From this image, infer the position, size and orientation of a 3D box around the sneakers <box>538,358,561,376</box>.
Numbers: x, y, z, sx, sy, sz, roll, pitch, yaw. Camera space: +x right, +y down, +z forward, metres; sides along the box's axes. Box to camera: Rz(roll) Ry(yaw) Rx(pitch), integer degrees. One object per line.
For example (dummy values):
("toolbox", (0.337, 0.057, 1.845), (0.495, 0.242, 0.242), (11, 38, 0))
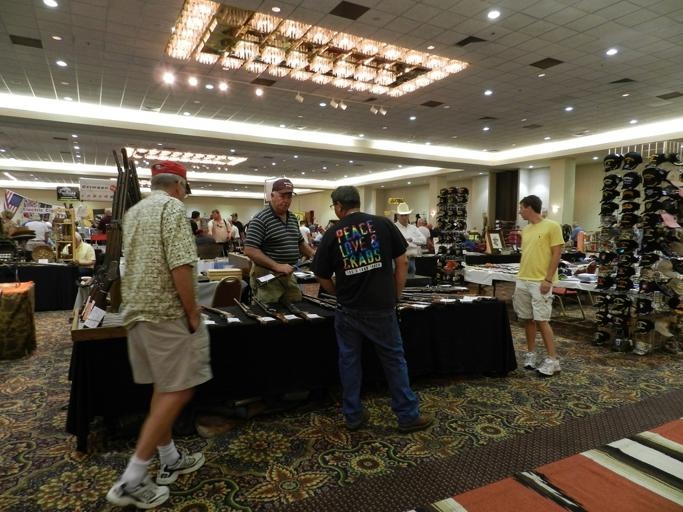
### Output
("sneakers", (2.162, 1.162, 4.383), (0.358, 0.119, 0.132), (5, -8, -38))

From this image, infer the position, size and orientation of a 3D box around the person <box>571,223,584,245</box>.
("person", (7.259, -0.645, 13.103), (0.243, 0.560, 1.048), (7, 15, 27))

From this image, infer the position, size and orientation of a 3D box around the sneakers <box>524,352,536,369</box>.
("sneakers", (2.022, 1.106, 4.532), (0.111, 0.178, 0.227), (6, 15, 22))

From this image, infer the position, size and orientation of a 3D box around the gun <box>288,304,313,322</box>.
("gun", (-0.360, 0.497, 3.690), (0.141, 0.029, 0.661), (-3, 1, -11))

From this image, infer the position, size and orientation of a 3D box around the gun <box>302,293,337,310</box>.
("gun", (-0.201, 0.434, 4.150), (0.128, 0.039, 0.631), (14, 2, -19))

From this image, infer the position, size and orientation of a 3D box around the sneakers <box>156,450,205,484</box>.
("sneakers", (-1.078, 1.443, 2.950), (0.131, 0.115, 0.338), (4, 9, 39))

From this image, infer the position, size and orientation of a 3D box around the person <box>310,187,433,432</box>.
("person", (0.234, 0.419, 3.371), (0.677, 1.929, 0.957), (-15, 21, -40))

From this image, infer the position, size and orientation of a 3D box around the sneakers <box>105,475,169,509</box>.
("sneakers", (-1.263, 1.503, 2.752), (0.471, 0.171, 0.164), (10, -2, -26))

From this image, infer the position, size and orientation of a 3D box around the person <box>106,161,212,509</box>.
("person", (-1.206, 0.465, 2.788), (0.620, 2.153, 0.935), (-3, 16, -7))

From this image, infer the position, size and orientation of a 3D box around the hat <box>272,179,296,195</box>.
("hat", (-0.555, -0.668, 3.989), (0.180, 0.141, 0.222), (-3, 13, -8))

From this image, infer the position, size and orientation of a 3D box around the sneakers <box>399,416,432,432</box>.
("sneakers", (0.593, 1.321, 3.399), (0.310, 0.087, 0.105), (-4, 8, -18))
